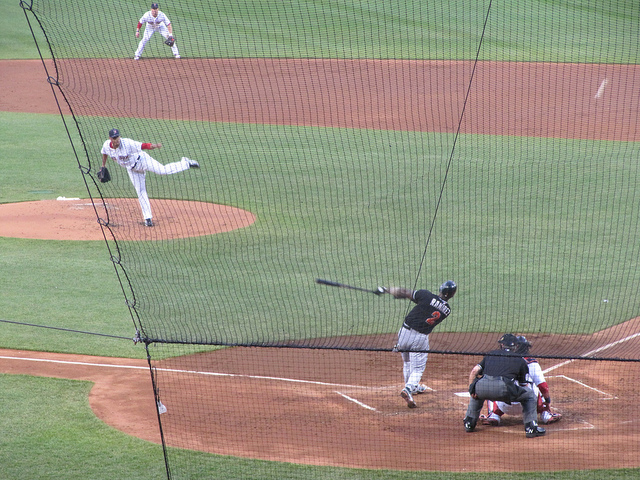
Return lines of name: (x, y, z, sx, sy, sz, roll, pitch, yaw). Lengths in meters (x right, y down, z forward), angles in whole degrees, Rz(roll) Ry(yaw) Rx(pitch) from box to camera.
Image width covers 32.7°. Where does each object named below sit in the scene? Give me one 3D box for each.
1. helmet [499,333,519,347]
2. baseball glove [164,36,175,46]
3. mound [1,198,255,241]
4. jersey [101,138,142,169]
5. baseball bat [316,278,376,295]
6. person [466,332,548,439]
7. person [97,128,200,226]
helmet: (3.311, 1.745, 19.226, 0.227, 0.173, 0.350, -17, 30, -30)
baseball glove: (-4.526, -6.020, 32.959, 0.283, 0.267, 0.269, -6, -14, 15)
mound: (-4.940, -0.520, 26.835, 5.952, 0.448, 2.944, 1, 24, 2)
jersey: (-4.609, -2.051, 25.503, 0.911, 0.805, 0.293, -4, 31, -8)
baseball bat: (0.532, 0.998, 23.425, 0.997, 0.086, 0.120, 14, 2, -12)
person: (3.293, 2.429, 18.981, 1.362, 1.773, 1.134, 4, 29, 7)
person: (-4.168, -1.519, 25.927, 1.754, 2.550, 1.168, -13, 32, -21)
